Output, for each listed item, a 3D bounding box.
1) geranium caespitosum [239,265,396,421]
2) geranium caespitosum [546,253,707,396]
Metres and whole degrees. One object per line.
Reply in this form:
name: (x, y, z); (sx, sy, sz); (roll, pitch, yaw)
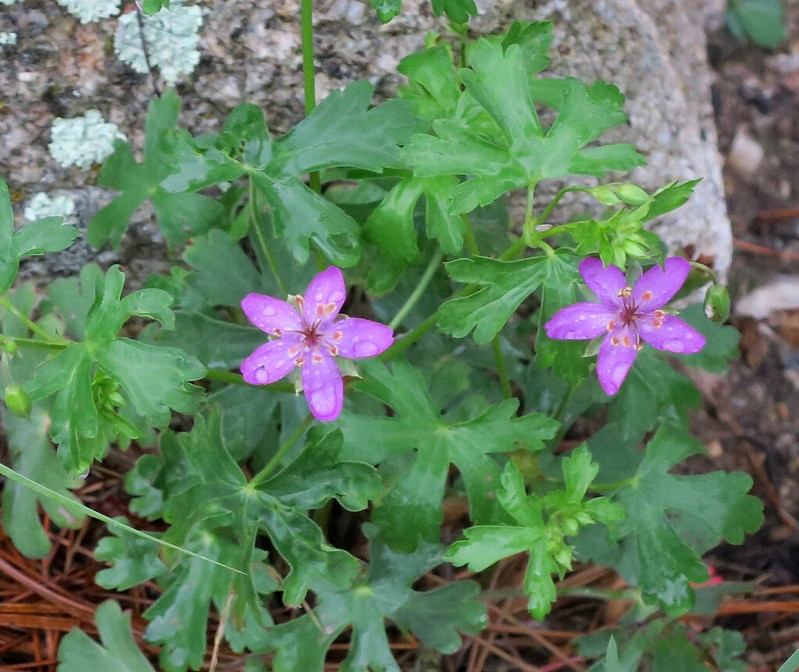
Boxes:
geranium caespitosum: (-0.309, 0.013, 2.551); (0.476, 0.238, 0.446); (36, 62, 18)
geranium caespitosum: (0.753, -0.059, 2.534); (0.551, 0.264, 0.368); (-18, 60, -14)
